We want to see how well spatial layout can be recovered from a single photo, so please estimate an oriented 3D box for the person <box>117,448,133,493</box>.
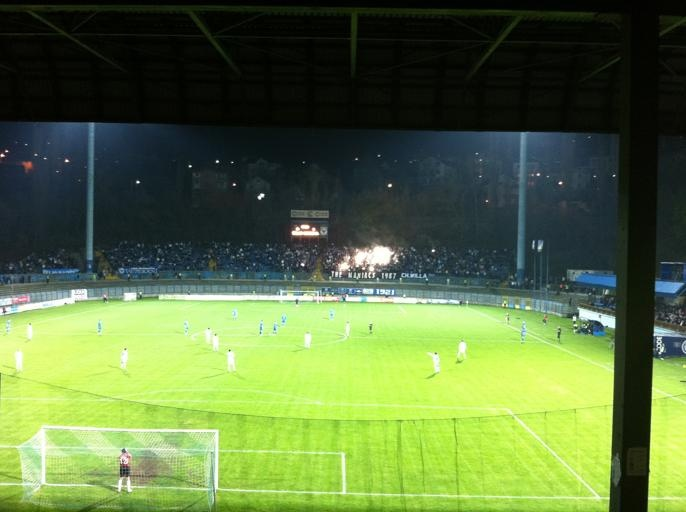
[{"bbox_3d":[-10.886,10.579,38.171,0.735,2.045,1.172,-3,11,-17],"label":"person"}]
